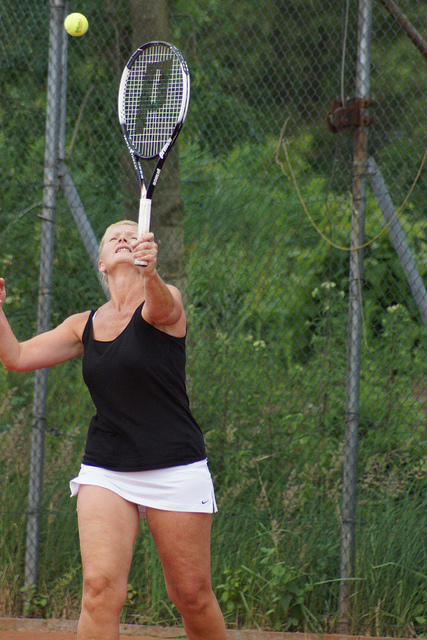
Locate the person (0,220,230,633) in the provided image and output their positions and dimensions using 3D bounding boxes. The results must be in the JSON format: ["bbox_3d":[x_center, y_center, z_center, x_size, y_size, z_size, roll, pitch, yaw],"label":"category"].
[{"bbox_3d":[-0.387,0.409,3.680,0.744,1.629,0.523,2,1,35],"label":"person"}]

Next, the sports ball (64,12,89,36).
[{"bbox_3d":[-0.708,-1.536,4.884,0.106,0.133,0.111,-4,-10,-1],"label":"sports ball"}]

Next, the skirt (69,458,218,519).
[{"bbox_3d":[-0.235,0.626,3.546,0.390,0.225,0.246,-6,3,-10],"label":"skirt"}]
